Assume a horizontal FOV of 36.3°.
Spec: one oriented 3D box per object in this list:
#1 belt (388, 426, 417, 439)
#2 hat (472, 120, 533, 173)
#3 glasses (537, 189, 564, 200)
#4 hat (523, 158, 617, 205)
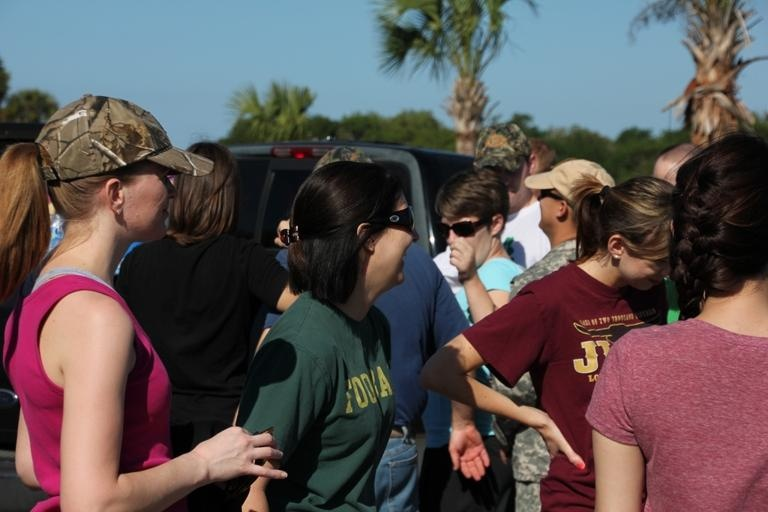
[{"bbox_3d":[0.103,0.913,6.125,0.124,0.047,0.091,4,-1,-10],"label":"belt"},{"bbox_3d":[0.834,-0.763,8.192,0.292,0.232,0.457,0,-1,16],"label":"hat"},{"bbox_3d":[0.956,-0.353,6.660,0.092,0.030,0.065,22,8,13],"label":"glasses"},{"bbox_3d":[1.019,-0.452,6.504,0.376,0.196,0.278,16,5,15],"label":"hat"}]
